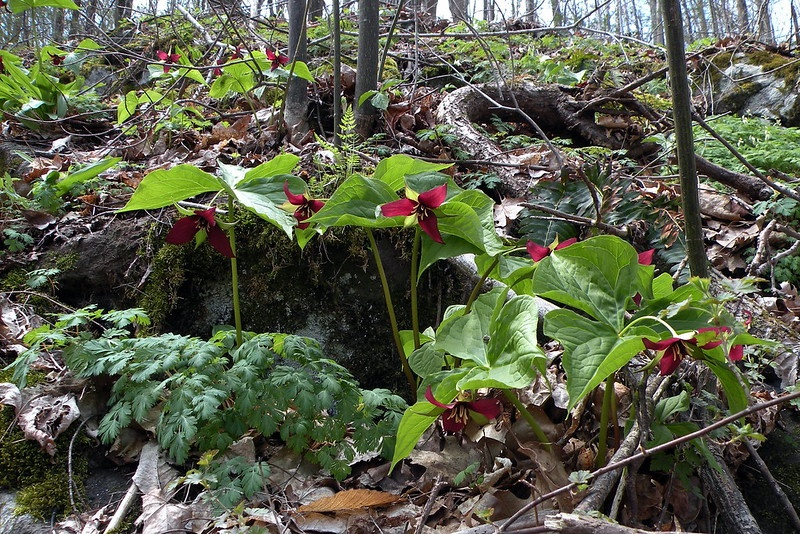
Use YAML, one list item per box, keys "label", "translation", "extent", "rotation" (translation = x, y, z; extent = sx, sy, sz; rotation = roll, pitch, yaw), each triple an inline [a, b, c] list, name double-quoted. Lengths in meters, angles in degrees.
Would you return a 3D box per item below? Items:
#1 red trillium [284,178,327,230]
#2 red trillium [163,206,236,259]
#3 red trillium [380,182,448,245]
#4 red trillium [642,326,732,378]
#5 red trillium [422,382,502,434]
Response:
- label: "red trillium"
  translation: [-0.666, -0.398, 3.754]
  extent: [0.271, 0.305, 0.248]
  rotation: [5, 7, 30]
- label: "red trillium"
  translation: [-1.361, -0.241, 3.785]
  extent: [0.430, 0.318, 0.097]
  rotation: [2, 6, 7]
- label: "red trillium"
  translation: [0.130, -0.360, 3.440]
  extent: [0.342, 0.353, 0.129]
  rotation: [-11, -32, -14]
- label: "red trillium"
  translation: [1.575, 0.398, 3.096]
  extent: [0.401, 0.384, 0.122]
  rotation: [21, -27, -20]
- label: "red trillium"
  translation: [0.420, 0.903, 3.456]
  extent: [0.359, 0.182, 0.370]
  rotation: [1, -24, 4]
